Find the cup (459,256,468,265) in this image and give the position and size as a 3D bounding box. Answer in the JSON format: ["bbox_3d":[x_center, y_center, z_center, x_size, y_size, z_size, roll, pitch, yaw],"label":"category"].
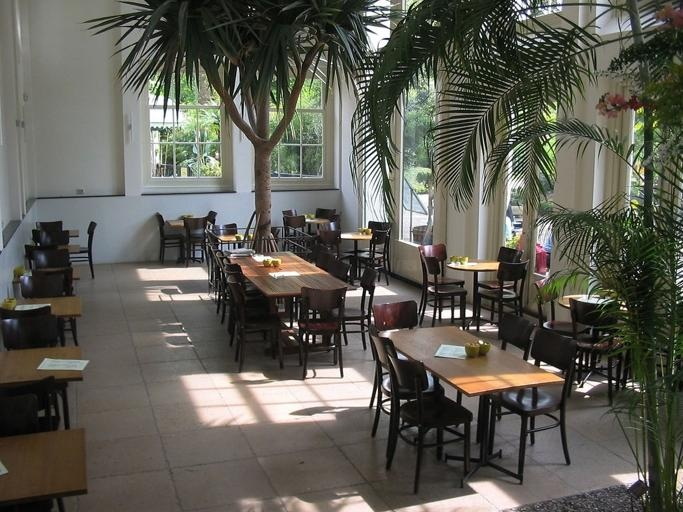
[{"bbox_3d":[1.703,0.064,7.524,0.105,0.105,0.106,-1,1,0],"label":"cup"}]

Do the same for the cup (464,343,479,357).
[{"bbox_3d":[1.034,0.745,4.273,0.100,0.084,0.103,-1,0,0],"label":"cup"}]

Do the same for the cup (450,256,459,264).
[{"bbox_3d":[1.580,0.045,7.570,0.090,0.073,0.098,0,-2,0],"label":"cup"}]

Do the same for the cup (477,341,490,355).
[{"bbox_3d":[1.140,0.739,4.324,0.096,0.078,0.097,-1,0,0],"label":"cup"}]

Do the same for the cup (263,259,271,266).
[{"bbox_3d":[-0.987,0.082,7.194,0.089,0.067,0.090,0,0,0],"label":"cup"}]

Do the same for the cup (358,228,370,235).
[{"bbox_3d":[0.439,-0.477,10.199,0.119,0.064,0.159,-1,0,-39],"label":"cup"}]

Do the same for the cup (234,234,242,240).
[{"bbox_3d":[-1.715,-0.321,8.973,0.107,0.108,0.113,-1,1,0],"label":"cup"}]
